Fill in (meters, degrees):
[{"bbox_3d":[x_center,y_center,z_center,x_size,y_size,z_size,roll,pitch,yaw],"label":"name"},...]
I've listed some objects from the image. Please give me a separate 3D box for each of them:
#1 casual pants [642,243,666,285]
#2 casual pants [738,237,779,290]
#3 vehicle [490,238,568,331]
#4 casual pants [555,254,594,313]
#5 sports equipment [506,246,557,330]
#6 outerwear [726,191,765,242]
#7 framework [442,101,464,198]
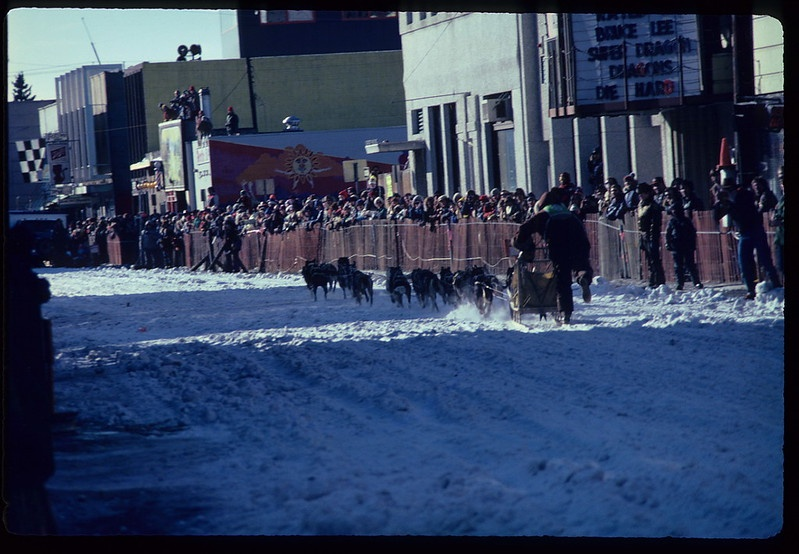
[{"bbox_3d":[4.749,-0.273,21.285,0.320,0.883,0.438,-6,11,-9],"label":"casual pants"},{"bbox_3d":[5.916,-0.278,18.836,0.696,0.946,0.485,-9,12,-21],"label":"casual pants"},{"bbox_3d":[2.377,0.013,18.800,0.649,1.087,1.867,0,18,12],"label":"vehicle"},{"bbox_3d":[2.760,0.129,18.237,0.596,0.924,0.348,-3,11,6],"label":"casual pants"},{"bbox_3d":[2.277,0.128,18.746,0.793,0.872,1.284,-2,-1,-8],"label":"sports equipment"},{"bbox_3d":[5.671,-1.056,18.692,0.570,0.807,0.313,-2,11,13],"label":"outerwear"},{"bbox_3d":[1.838,-4.863,43.550,0.492,3.528,0.438,1,-8,-26],"label":"framework"}]
